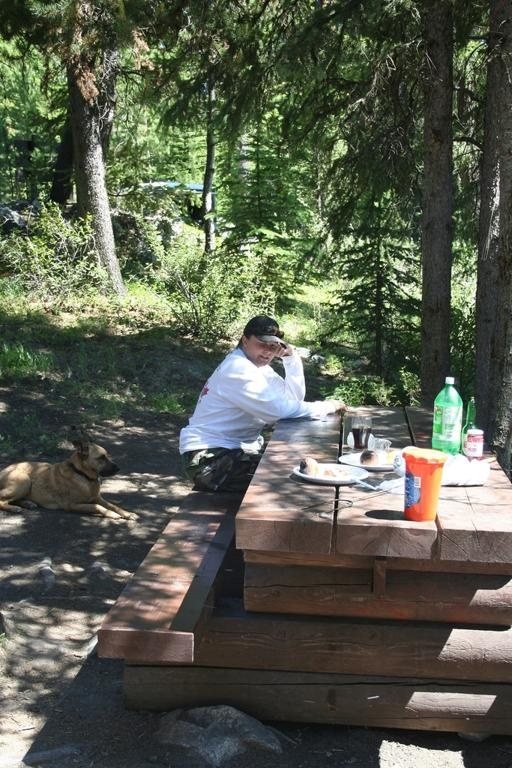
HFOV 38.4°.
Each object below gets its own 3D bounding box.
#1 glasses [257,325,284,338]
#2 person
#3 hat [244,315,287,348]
[{"bbox_3d":[0.105,-0.343,4.739,0.088,0.060,0.114,7,-12,4],"label":"glasses"},{"bbox_3d":[0.042,0.256,4.922,1.044,1.407,0.922,-5,10,-41],"label":"person"},{"bbox_3d":[0.054,-0.349,4.741,0.172,0.130,0.235,10,2,-37],"label":"hat"}]
